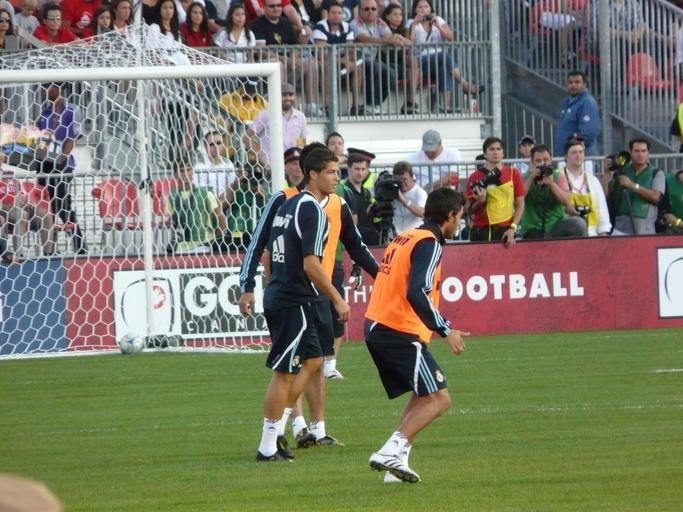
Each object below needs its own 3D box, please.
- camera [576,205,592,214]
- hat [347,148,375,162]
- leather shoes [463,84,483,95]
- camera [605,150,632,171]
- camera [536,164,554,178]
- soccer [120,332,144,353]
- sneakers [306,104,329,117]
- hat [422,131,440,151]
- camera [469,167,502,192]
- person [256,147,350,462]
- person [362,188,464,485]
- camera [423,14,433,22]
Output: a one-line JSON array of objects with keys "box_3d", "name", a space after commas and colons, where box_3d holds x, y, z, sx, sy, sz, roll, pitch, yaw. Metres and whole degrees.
[{"box_3d": [3.489, -0.670, 23.205, 0.136, 0.117, 0.098, 1, 6, -14], "name": "camera"}, {"box_3d": [0.252, -1.410, 22.607, 0.314, 0.168, 0.377, 6, 3, 12], "name": "hat"}, {"box_3d": [2.133, -2.694, 26.084, 0.389, 0.181, 0.131, -1, 16, -9], "name": "leather shoes"}, {"box_3d": [3.977, -1.342, 23.070, 0.211, 0.337, 0.289, -5, 6, -32], "name": "camera"}, {"box_3d": [2.891, -1.191, 22.857, 0.262, 0.217, 0.184, -1, 3, -10], "name": "camera"}, {"box_3d": [-2.824, 1.175, 21.494, 0.319, 0.271, 0.293, -1, 3, -10], "name": "soccer"}, {"box_3d": [-0.387, -2.276, 25.249, 0.344, 0.270, 0.144, -5, 9, -19], "name": "sneakers"}, {"box_3d": [1.329, -1.723, 23.717, 0.187, 0.172, 0.311, 3, 36, 17], "name": "hat"}, {"box_3d": [2.023, -1.082, 22.522, 0.365, 0.179, 0.261, -32, 26, 10], "name": "camera"}, {"box_3d": [-0.465, 0.497, 17.251, 0.954, 3.307, 0.608, -1, 3, -6], "name": "person"}, {"box_3d": [0.739, 0.813, 16.738, 1.006, 3.001, 0.666, 0, 3, 0], "name": "person"}, {"box_3d": [1.387, -3.838, 25.968, 0.098, 0.103, 0.146, 0, -1, 4], "name": "camera"}]
